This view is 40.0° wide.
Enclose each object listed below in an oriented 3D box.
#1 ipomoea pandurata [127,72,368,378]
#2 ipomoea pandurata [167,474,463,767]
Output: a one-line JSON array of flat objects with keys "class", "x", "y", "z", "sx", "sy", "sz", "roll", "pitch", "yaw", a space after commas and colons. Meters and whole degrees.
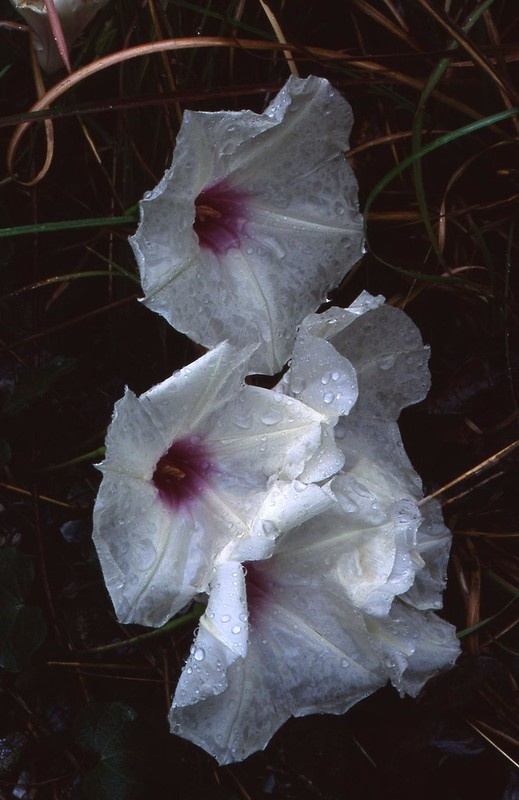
[{"class": "ipomoea pandurata", "x": -0.053, "y": -0.290, "z": 1.291, "sx": 0.360, "sy": 0.377, "sz": 0.506, "roll": -11, "pitch": -52, "yaw": -22}, {"class": "ipomoea pandurata", "x": 0.116, "y": 0.346, "z": 1.338, "sx": 0.479, "sy": 0.542, "sz": 0.679, "roll": -4, "pitch": 28, "yaw": -8}]
